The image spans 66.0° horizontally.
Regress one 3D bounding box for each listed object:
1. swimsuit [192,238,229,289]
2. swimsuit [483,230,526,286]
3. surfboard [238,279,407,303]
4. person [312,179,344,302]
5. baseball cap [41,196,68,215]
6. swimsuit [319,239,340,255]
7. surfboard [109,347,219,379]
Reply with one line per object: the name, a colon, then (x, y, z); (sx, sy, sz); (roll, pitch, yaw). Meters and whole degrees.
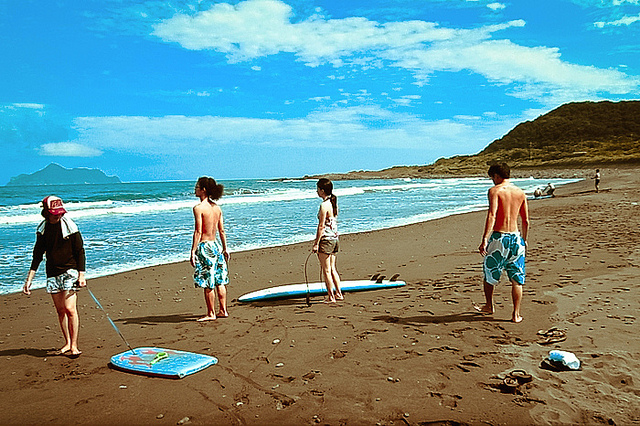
swimsuit: (-2.207, 1.026, 9.783); (0.696, 0.965, 0.360); (-10, 14, -23)
swimsuit: (3.335, 0.827, 8.990); (0.692, 1.036, 0.326); (-1, 14, 17)
surfboard: (0.152, 1.776, 11.057); (3.552, 0.274, 0.588); (-1, -5, -12)
person: (0.127, 0.607, 10.439); (0.537, 2.681, 0.738); (-5, 14, 2)
baseball cap: (-4.536, -0.127, 8.476); (0.479, 0.183, 0.274); (11, 11, 24)
swimsuit: (0.210, 0.709, 10.321); (0.546, 0.295, 0.350); (0, 8, -32)
surfboard: (-2.619, 2.493, 8.212); (1.096, 0.088, 0.655); (2, 3, 18)
